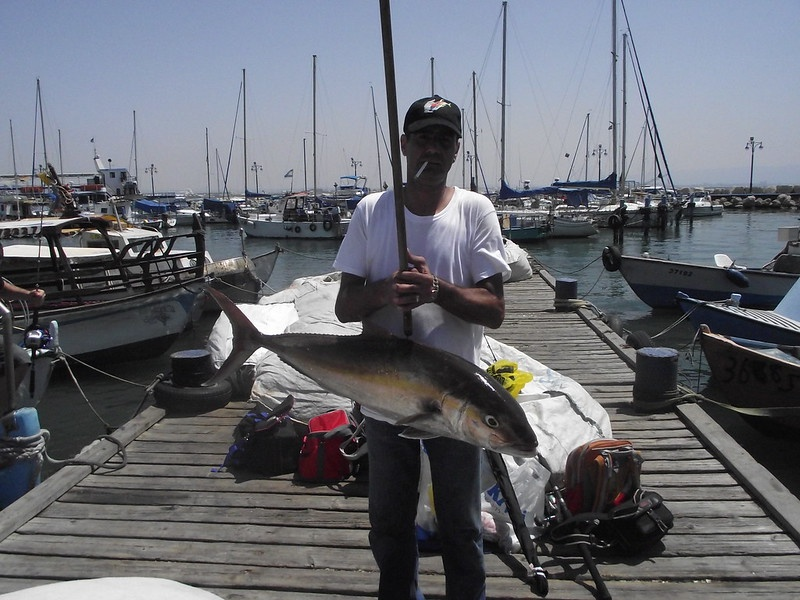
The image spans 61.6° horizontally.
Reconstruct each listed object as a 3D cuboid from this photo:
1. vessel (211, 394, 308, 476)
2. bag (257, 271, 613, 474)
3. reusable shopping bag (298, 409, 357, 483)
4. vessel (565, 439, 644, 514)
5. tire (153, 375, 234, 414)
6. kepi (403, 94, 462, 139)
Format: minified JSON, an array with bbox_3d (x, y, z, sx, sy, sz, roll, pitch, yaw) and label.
[{"bbox_3d":[-1.159,1.057,5.470,0.685,0.305,0.562,-15,11,-31],"label":"vessel"},{"bbox_3d":[0.237,0.608,5.631,2.559,0.591,1.491,25,19,32],"label":"bag"},{"bbox_3d":[-0.600,1.148,5.192,0.378,0.446,0.470,0,3,-11],"label":"reusable shopping bag"},{"bbox_3d":[1.366,1.183,4.526,0.485,0.573,0.416,-1,10,-14],"label":"vessel"},{"bbox_3d":[-1.908,0.879,6.111,0.757,0.228,0.749,0,0,5],"label":"tire"},{"bbox_3d":[0.151,-0.863,3.159,0.269,0.195,0.125,-1,12,1],"label":"kepi"}]
